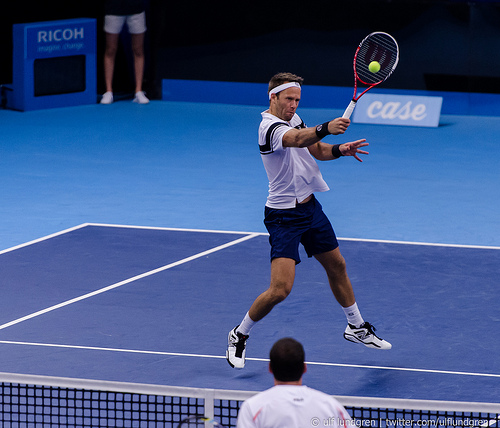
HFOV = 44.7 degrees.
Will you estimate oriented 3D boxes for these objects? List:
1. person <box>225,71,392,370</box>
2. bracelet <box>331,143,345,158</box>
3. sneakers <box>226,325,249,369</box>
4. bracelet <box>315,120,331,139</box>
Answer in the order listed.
[{"bbox_3d":[0.367,-0.016,4.095,1.036,2.051,0.906,-1,-7,-17],"label":"person"},{"bbox_3d":[0.597,-0.434,4.143,0.067,0.085,0.068,11,-51,-5],"label":"bracelet"},{"bbox_3d":[-0.096,0.888,4.067,0.107,0.273,0.125,8,-29,-30],"label":"sneakers"},{"bbox_3d":[0.443,-0.521,3.712,0.098,0.075,0.108,-7,-11,28],"label":"bracelet"}]
